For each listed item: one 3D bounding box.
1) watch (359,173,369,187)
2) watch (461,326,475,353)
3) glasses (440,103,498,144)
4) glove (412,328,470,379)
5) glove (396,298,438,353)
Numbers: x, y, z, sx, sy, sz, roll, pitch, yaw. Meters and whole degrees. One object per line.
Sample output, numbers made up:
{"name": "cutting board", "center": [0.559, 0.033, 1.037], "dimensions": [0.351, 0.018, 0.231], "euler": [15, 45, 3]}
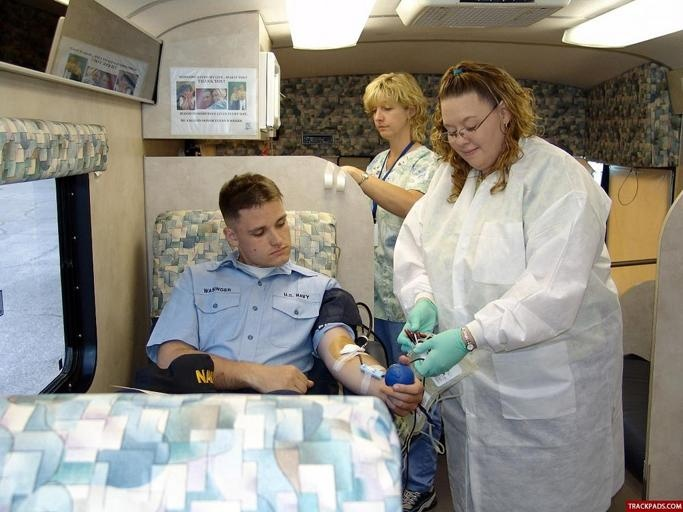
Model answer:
{"name": "watch", "center": [0.121, -0.424, 2.844], "dimensions": [0.013, 0.062, 0.049], "euler": [8, 10, -19]}
{"name": "watch", "center": [0.463, 0.306, 1.899], "dimensions": [0.048, 0.085, 0.080], "euler": [-8, 32, 14]}
{"name": "glasses", "center": [0.505, -0.513, 1.988], "dimensions": [0.135, 0.038, 0.134], "euler": [-48, 21, -18]}
{"name": "glove", "center": [0.386, 0.372, 2.010], "dimensions": [0.219, 0.171, 0.079], "euler": [-29, -6, 14]}
{"name": "glove", "center": [0.313, 0.282, 2.165], "dimensions": [0.077, 0.173, 0.223], "euler": [8, 38, 41]}
